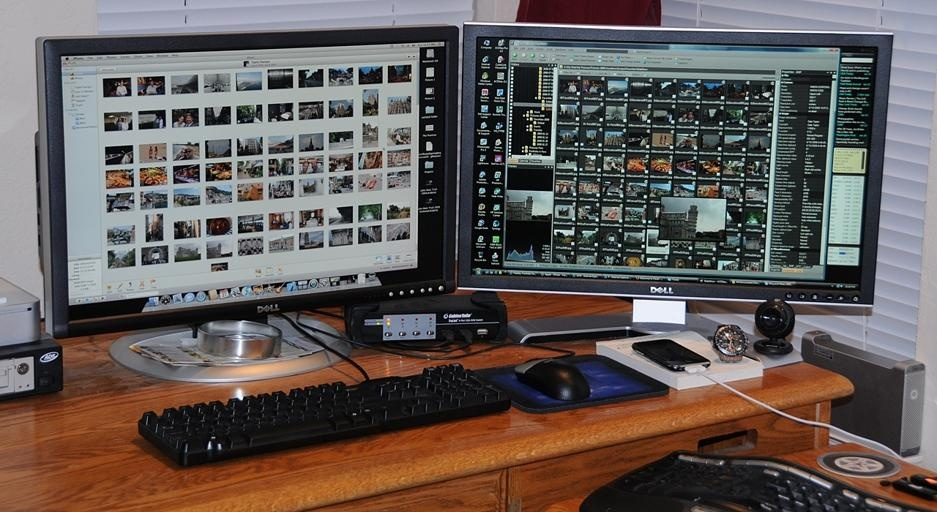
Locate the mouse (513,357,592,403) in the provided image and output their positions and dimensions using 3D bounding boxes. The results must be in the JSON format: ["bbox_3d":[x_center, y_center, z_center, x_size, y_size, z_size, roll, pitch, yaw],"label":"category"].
[{"bbox_3d":[0.204,0.272,1.798,0.148,0.058,0.212,-10,12,-18],"label":"mouse"}]

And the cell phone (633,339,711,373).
[{"bbox_3d":[0.500,0.244,1.861,0.125,0.017,0.171,-8,21,-24],"label":"cell phone"}]
